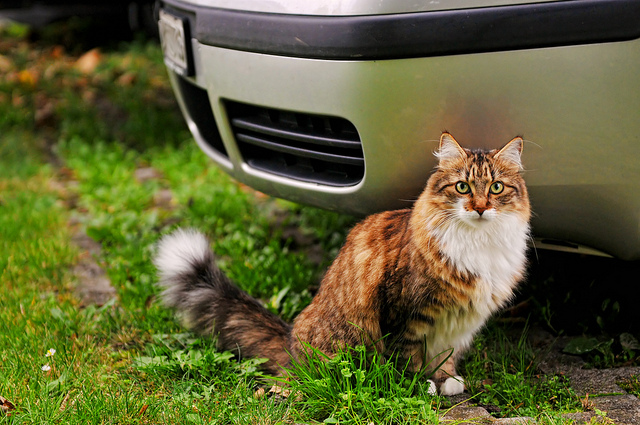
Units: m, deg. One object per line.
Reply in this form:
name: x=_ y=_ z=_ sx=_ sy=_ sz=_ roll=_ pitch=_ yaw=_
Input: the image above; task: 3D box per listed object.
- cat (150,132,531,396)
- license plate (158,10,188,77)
cat: x=0.313 y=0.220 z=3.601 sx=1.290 sy=1.403 sz=1.733 roll=-9 pitch=8 yaw=-37
license plate: x=-0.845 y=-0.975 z=3.567 sx=0.034 sy=0.326 sz=0.310 roll=-22 pitch=39 yaw=-36
